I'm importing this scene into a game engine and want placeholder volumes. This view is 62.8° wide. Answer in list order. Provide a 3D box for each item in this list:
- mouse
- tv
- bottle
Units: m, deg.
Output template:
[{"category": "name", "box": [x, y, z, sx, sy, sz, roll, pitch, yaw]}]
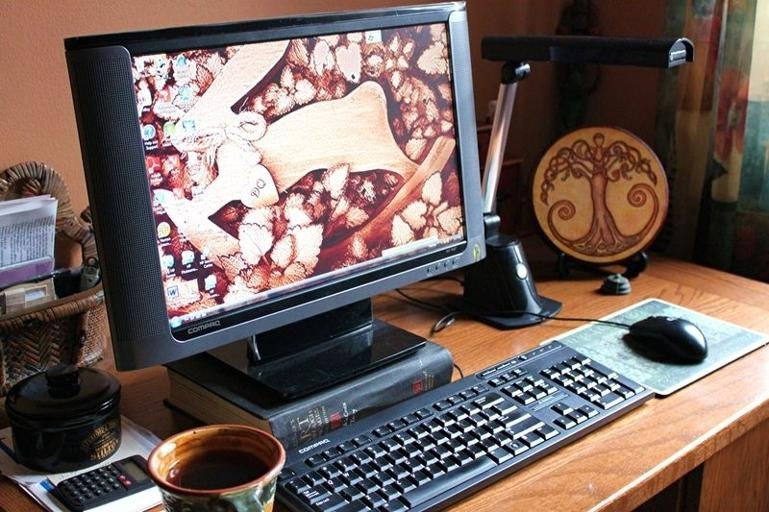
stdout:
[{"category": "mouse", "box": [0.514, 0.154, 1.153, 0.071, 0.040, 0.119, -22, 36, -36]}, {"category": "tv", "box": [-0.169, -0.068, 1.003, 0.739, 0.477, 0.204, -16, 32, -33]}, {"category": "bottle", "box": [-0.461, 0.239, 0.985, 0.161, 0.137, 0.170, 25, 29, 38]}]
